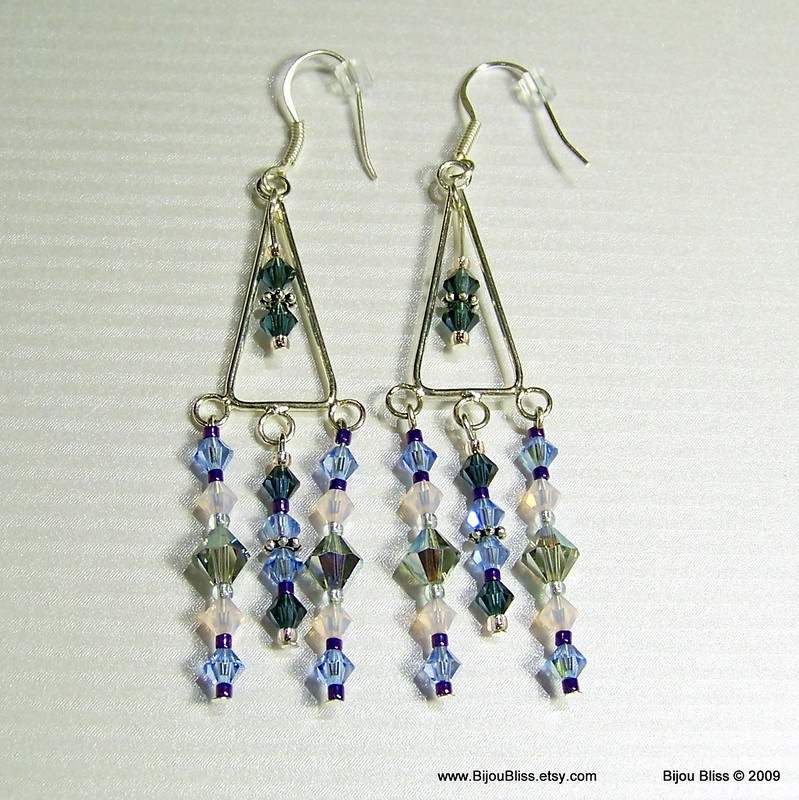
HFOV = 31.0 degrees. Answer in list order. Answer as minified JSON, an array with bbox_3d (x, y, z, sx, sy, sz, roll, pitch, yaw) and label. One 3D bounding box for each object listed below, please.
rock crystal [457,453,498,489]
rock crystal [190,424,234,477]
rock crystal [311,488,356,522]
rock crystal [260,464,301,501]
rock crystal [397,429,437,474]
[{"bbox_3d":[0.120,0.112,2.215,0.055,0.046,0.052,-16,-16,41],"label":"rock crystal"},{"bbox_3d":[-0.296,0.082,2.214,0.045,0.062,0.042,-34,-51,10],"label":"rock crystal"},{"bbox_3d":[-0.106,0.164,2.220,0.054,0.049,0.053,0,-3,-34],"label":"rock crystal"},{"bbox_3d":[-0.186,0.129,2.183,0.055,0.047,0.053,0,-14,-15],"label":"rock crystal"},{"bbox_3d":[0.022,0.085,2.239,0.042,0.052,0.042,-23,-33,9],"label":"rock crystal"}]
